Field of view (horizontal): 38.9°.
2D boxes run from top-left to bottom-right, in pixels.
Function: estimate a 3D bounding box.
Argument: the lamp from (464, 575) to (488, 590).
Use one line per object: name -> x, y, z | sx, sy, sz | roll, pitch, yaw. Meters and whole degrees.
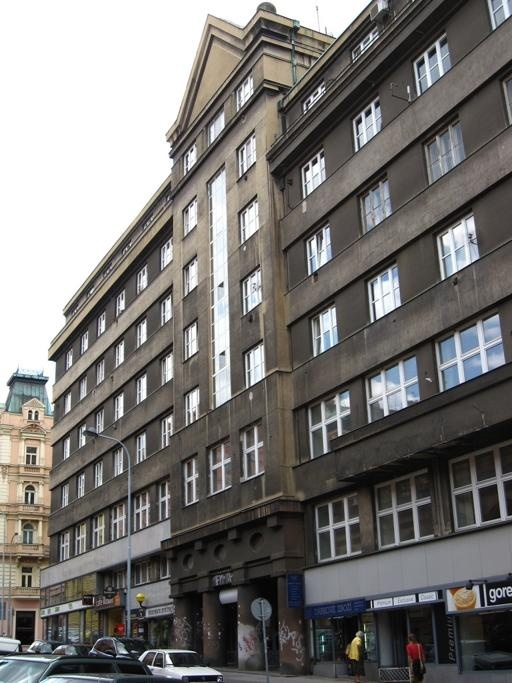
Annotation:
lamp -> 5.094, 5.644, 16.818 | 0.196, 0.293, 0.852 | 3, -27, -17
